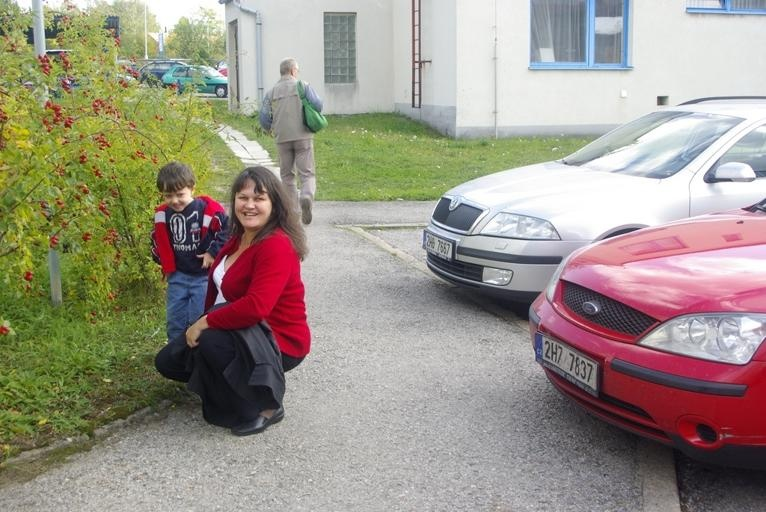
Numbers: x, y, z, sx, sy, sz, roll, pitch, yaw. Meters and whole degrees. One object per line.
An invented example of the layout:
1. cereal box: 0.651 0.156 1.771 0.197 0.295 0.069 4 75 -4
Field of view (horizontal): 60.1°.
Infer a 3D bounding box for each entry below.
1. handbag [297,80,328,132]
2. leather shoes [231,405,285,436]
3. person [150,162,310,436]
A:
1. handbag: -1.084 -2.232 10.038 0.412 0.770 0.546 -1 18 -7
2. leather shoes: -0.892 1.203 4.841 0.412 0.138 0.138 -13 11 -38
3. person: -1.050 0.290 4.835 0.882 1.794 0.826 9 19 23
